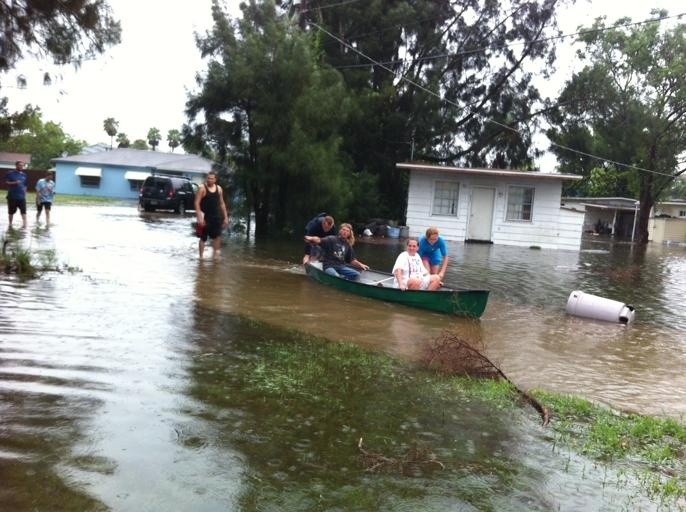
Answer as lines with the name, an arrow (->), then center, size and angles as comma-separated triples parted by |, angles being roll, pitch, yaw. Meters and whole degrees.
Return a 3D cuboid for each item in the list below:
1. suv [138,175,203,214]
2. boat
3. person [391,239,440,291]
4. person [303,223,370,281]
suv -> -9.071, -3.173, 30.849 | 1.378, 2.191, 2.809 | 15, 17, 41
boat -> 0.741, 0.795, 11.806 | 1.259, 0.864, 5.420 | -5, 9, -43
person -> 1.314, 0.259, 11.533 | 0.995, 1.328, 0.853 | -6, 7, -38
person -> -0.102, 0.121, 12.810 | 1.274, 1.551, 0.912 | 0, 12, -42
